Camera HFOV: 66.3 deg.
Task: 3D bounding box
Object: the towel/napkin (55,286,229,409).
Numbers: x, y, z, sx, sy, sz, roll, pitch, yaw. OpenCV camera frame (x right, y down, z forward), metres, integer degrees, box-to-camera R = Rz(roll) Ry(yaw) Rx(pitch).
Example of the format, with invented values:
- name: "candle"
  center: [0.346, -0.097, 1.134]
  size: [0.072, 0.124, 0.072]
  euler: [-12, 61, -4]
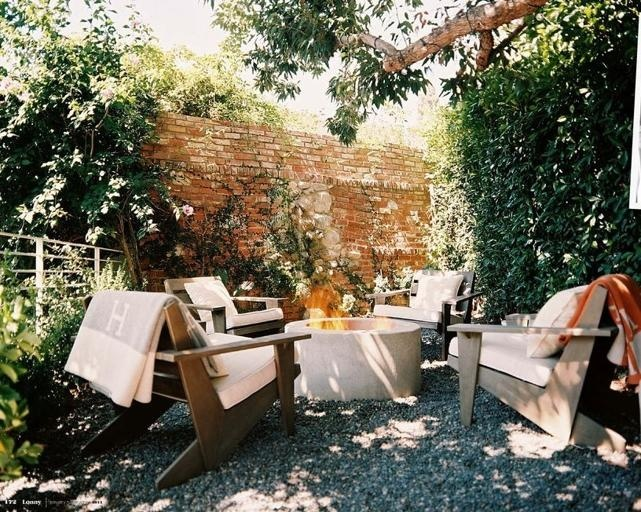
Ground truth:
- name: "towel/napkin"
  center: [-1.103, 0.329, 2.993]
  size: [0.916, 0.623, 0.670]
  euler: [3, 5, 43]
